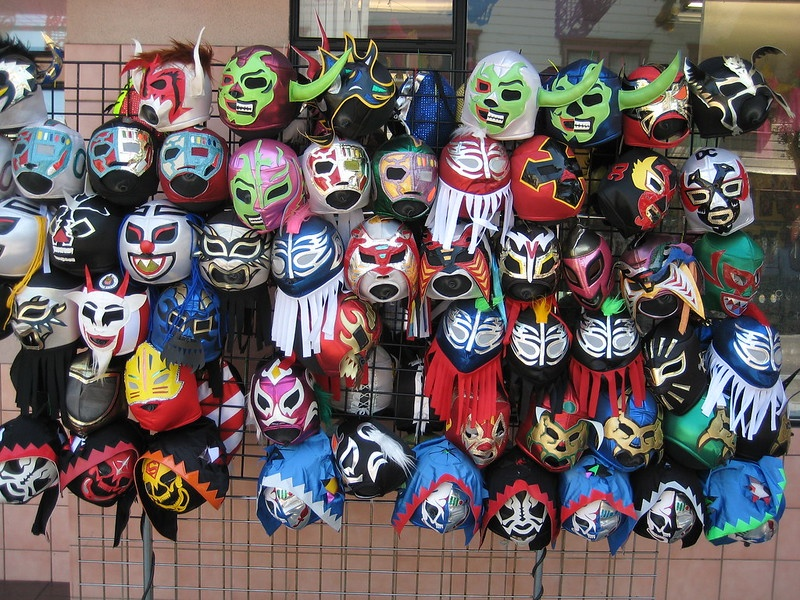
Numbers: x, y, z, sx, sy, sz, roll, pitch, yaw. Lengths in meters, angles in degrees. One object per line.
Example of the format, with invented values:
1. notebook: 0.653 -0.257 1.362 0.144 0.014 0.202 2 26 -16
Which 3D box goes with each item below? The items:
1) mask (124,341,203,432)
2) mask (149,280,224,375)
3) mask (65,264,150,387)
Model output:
1. mask: -0.752 0.286 3.278 0.184 0.287 0.267 -6 -3 19
2. mask: -0.651 0.070 3.180 0.182 0.240 0.289 11 28 -14
3. mask: -0.908 0.033 3.220 0.192 0.338 0.220 13 24 0
